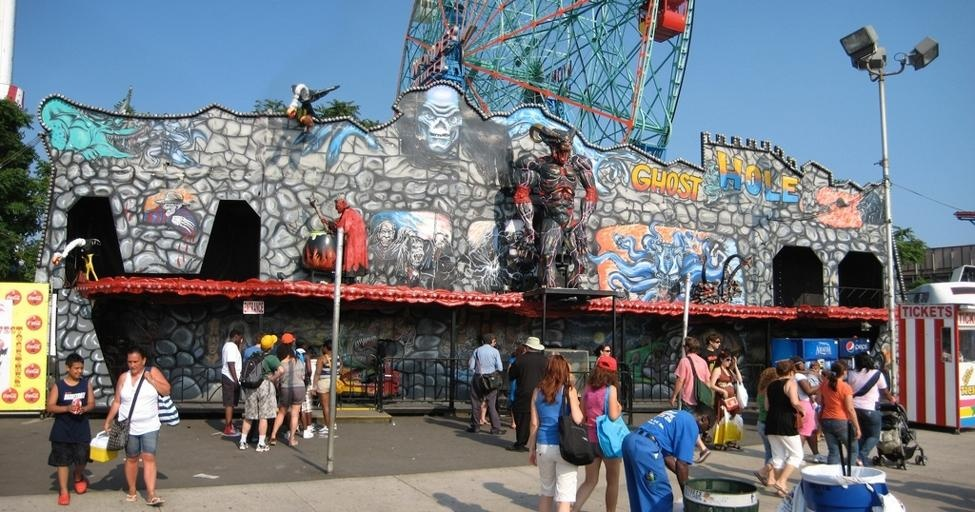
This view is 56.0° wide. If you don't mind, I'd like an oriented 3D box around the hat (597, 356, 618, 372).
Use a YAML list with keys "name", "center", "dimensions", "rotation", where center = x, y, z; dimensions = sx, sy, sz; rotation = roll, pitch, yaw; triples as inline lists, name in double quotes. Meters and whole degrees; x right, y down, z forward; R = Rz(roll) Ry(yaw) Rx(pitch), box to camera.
- name: "hat"
  center: [3.886, 3.510, 29.879]
  dimensions: [0.692, 0.535, 1.014]
  rotation: [2, -3, 14]

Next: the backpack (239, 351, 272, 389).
- name: "backpack"
  center: [-7.272, 3.584, 28.421]
  dimensions: [0.771, 1.091, 0.478]
  rotation: [-3, 14, -16]

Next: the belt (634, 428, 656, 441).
- name: "belt"
  center: [4.110, 4.681, 23.863]
  dimensions: [0.388, 0.137, 0.332]
  rotation: [27, -10, -7]

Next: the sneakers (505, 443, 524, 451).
- name: "sneakers"
  center: [0.845, 6.201, 29.419]
  dimensions: [0.568, 0.228, 0.237]
  rotation: [2, -5, 20]

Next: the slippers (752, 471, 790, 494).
- name: "slippers"
  center: [8.143, 6.625, 26.373]
  dimensions: [1.063, 0.291, 0.382]
  rotation: [38, -12, -6]

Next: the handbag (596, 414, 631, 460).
- name: "handbag"
  center: [3.260, 4.831, 24.133]
  dimensions: [1.071, 1.495, 0.653]
  rotation: [5, -15, -18]

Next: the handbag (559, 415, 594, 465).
- name: "handbag"
  center: [2.305, 4.865, 23.934]
  dimensions: [0.957, 1.239, 0.502]
  rotation: [2, 14, 5]

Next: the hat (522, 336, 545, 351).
- name: "hat"
  center: [1.447, 2.875, 29.542]
  dimensions: [0.518, 0.190, 0.461]
  rotation: [9, -1, 39]

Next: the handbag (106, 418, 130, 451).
- name: "handbag"
  center: [-10.080, 4.902, 24.944]
  dimensions: [0.838, 0.952, 0.469]
  rotation: [5, -9, -11]

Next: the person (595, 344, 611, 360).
- name: "person"
  center: [3.955, 3.255, 30.959]
  dimensions: [0.494, 0.696, 0.528]
  rotation: [9, -11, -42]

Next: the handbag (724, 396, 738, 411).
- name: "handbag"
  center: [7.569, 4.649, 28.446]
  dimensions: [0.451, 0.483, 0.198]
  rotation: [-5, 15, -22]

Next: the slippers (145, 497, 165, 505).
- name: "slippers"
  center: [-9.084, 6.695, 24.961]
  dimensions: [0.441, 0.238, 0.221]
  rotation: [-4, 14, -19]

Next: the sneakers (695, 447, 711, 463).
- name: "sneakers"
  center: [6.597, 6.172, 28.150]
  dimensions: [0.247, 0.276, 0.660]
  rotation: [-17, -33, -33]

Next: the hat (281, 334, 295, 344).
- name: "hat"
  center: [-6.439, 2.696, 29.435]
  dimensions: [0.438, 0.229, 0.599]
  rotation: [2, 12, -3]
